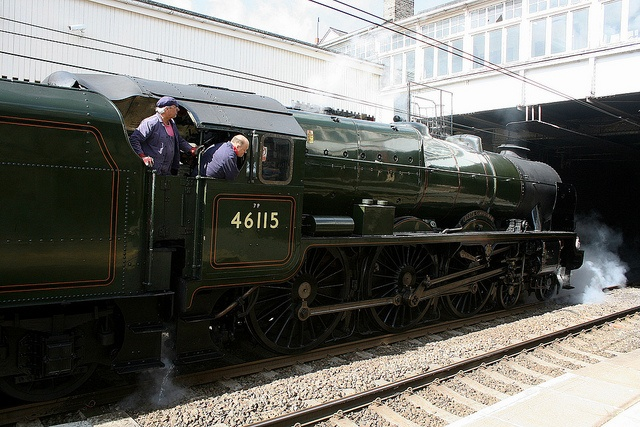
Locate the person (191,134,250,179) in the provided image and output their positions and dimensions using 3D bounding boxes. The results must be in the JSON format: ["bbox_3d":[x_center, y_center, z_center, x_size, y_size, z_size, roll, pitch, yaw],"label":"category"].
[{"bbox_3d":[-1.528,-0.900,7.796,0.777,0.736,0.565,-6,28,-23],"label":"person"}]

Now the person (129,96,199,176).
[{"bbox_3d":[-2.515,-1.232,7.629,0.525,1.217,1.091,5,7,27],"label":"person"}]

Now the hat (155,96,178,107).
[{"bbox_3d":[-2.411,-1.745,7.396,0.250,0.095,0.172,-17,27,-41],"label":"hat"}]
